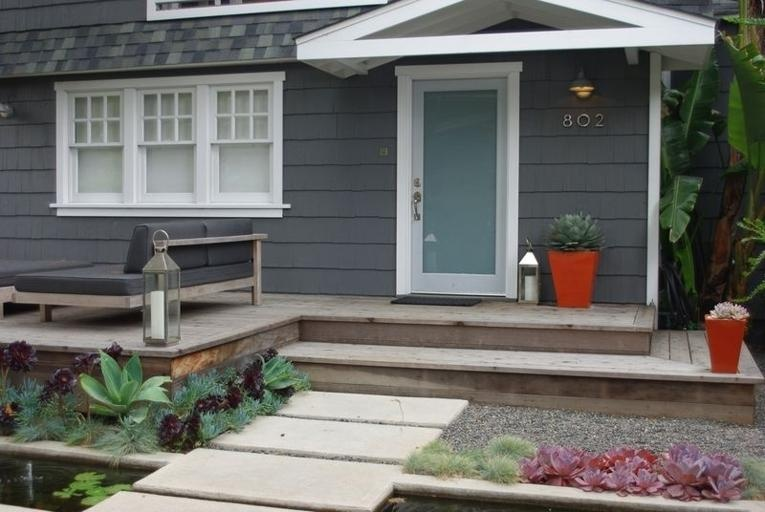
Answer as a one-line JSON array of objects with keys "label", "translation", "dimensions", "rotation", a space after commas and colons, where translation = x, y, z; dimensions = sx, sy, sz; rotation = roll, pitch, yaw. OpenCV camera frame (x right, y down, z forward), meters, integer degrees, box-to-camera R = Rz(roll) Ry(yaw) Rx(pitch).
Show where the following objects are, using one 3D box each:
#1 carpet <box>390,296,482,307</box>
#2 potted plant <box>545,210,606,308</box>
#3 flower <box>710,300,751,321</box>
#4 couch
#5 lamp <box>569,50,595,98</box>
[{"label": "carpet", "translation": [0.614, 0.505, 7.572], "dimensions": [0.976, 0.075, 0.660], "rotation": [-2, 2, 17]}, {"label": "potted plant", "translation": [2.117, 0.110, 7.265], "dimensions": [0.612, 0.962, 0.610], "rotation": [-5, 4, -44]}, {"label": "flower", "translation": [2.815, 0.445, 5.427], "dimensions": [0.242, 0.142, 0.315], "rotation": [-1, 3, 37]}, {"label": "couch", "translation": [-2.155, 0.127, 6.472], "dimensions": [2.417, 0.922, 1.175], "rotation": [-4, 3, -37]}, {"label": "lamp", "translation": [2.224, -2.003, 7.418], "dimensions": [0.372, 0.441, 0.389], "rotation": [-2, -6, 13]}]
